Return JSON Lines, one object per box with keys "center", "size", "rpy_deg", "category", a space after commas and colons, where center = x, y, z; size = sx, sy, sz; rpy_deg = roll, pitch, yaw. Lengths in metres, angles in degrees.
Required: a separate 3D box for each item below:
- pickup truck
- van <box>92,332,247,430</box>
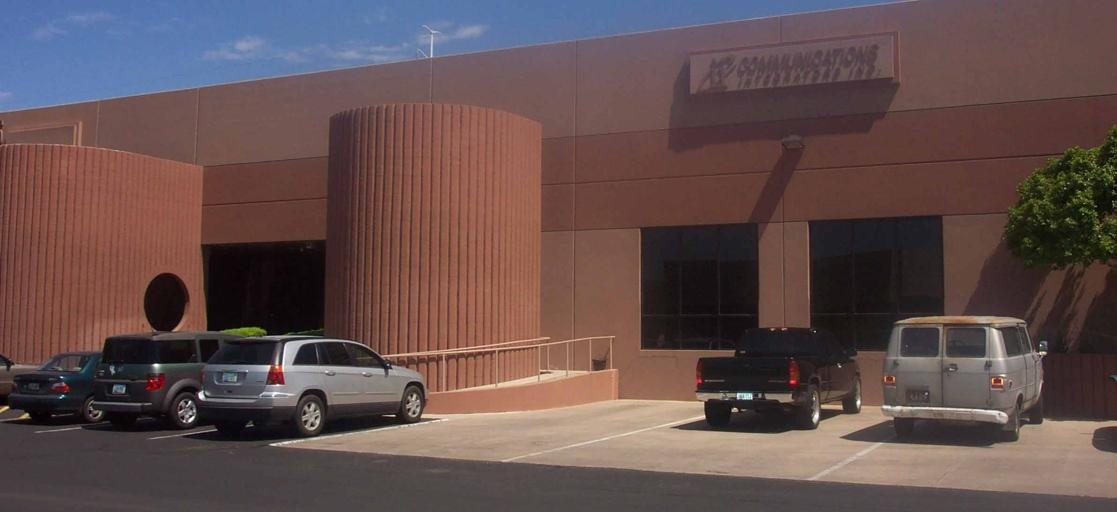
{"center": [9.625, 4.917, 37.348], "size": [4.764, 3.297, 8.790], "rpy_deg": [-3, -4, 33], "category": "pickup truck"}
{"center": [-15.771, 5.233, 38.165], "size": [4.330, 3.394, 8.139], "rpy_deg": [-1, -5, 19], "category": "van"}
